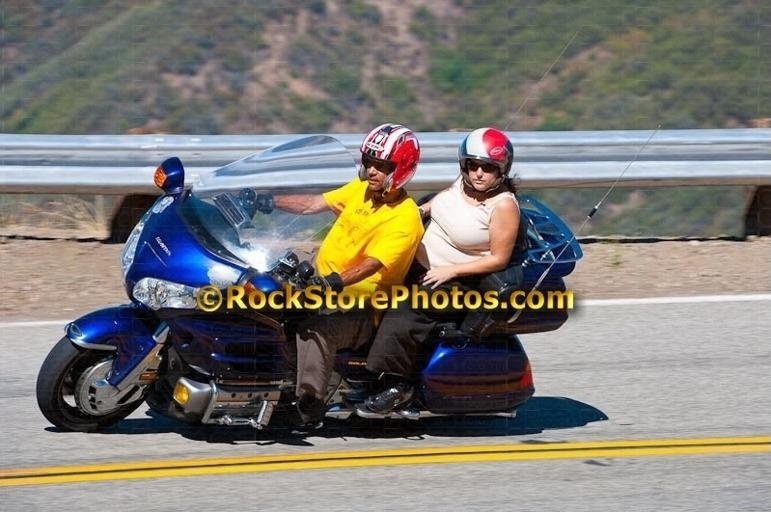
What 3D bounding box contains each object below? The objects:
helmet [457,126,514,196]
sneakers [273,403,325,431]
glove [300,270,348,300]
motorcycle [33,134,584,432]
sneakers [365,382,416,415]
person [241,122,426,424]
[{"bbox_3d":[0.684,-0.645,8.799,0.451,0.318,0.373,-6,14,-18],"label":"helmet"},{"bbox_3d":[-0.580,1.048,8.703,0.341,0.094,0.210,-1,-5,9],"label":"sneakers"},{"bbox_3d":[-0.374,0.146,8.474,0.287,0.211,0.215,12,54,12],"label":"glove"},{"bbox_3d":[-0.471,0.375,8.797,3.488,1.259,1.280,-3,10,-21],"label":"motorcycle"},{"bbox_3d":[-0.007,0.925,8.659,0.434,0.145,0.151,-6,34,-44],"label":"sneakers"},{"bbox_3d":[-0.365,0.103,8.773,1.428,1.910,1.013,2,28,-6],"label":"person"}]
